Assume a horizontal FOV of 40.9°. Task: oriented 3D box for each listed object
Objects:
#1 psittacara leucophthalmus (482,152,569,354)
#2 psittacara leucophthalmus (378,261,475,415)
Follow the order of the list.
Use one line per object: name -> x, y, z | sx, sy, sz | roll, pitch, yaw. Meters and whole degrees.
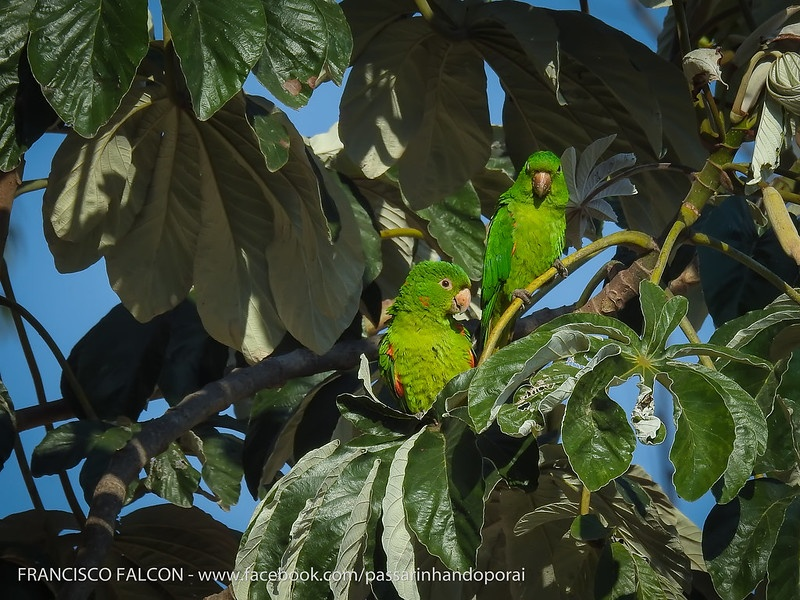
psittacara leucophthalmus -> 0.350, -0.146, 3.024 | 0.229, 0.541, 0.381 | 5, 7, 9
psittacara leucophthalmus -> 0.063, 0.124, 2.735 | 0.272, 0.417, 0.231 | -13, -15, 36
